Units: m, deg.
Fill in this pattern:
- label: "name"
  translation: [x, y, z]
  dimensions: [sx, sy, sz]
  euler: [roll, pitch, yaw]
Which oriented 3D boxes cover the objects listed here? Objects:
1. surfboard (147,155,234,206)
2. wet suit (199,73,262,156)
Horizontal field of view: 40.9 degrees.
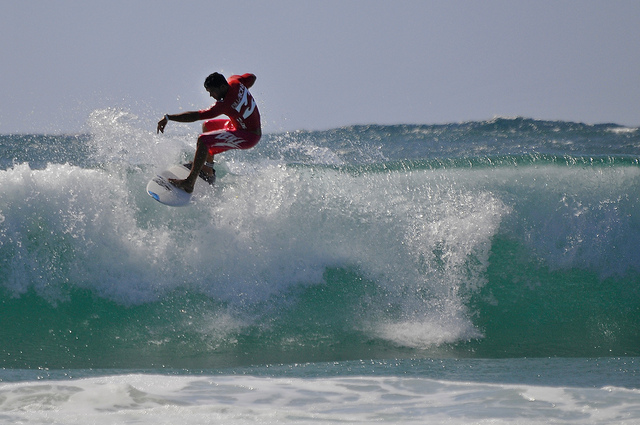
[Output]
- label: "surfboard"
  translation: [-2.263, -0.652, 15.485]
  dimensions: [0.281, 0.526, 1.948]
  euler: [-40, -1, 38]
- label: "wet suit"
  translation: [-1.592, -1.753, 15.005]
  dimensions: [1.051, 1.201, 0.725]
  euler: [0, 0, -4]
